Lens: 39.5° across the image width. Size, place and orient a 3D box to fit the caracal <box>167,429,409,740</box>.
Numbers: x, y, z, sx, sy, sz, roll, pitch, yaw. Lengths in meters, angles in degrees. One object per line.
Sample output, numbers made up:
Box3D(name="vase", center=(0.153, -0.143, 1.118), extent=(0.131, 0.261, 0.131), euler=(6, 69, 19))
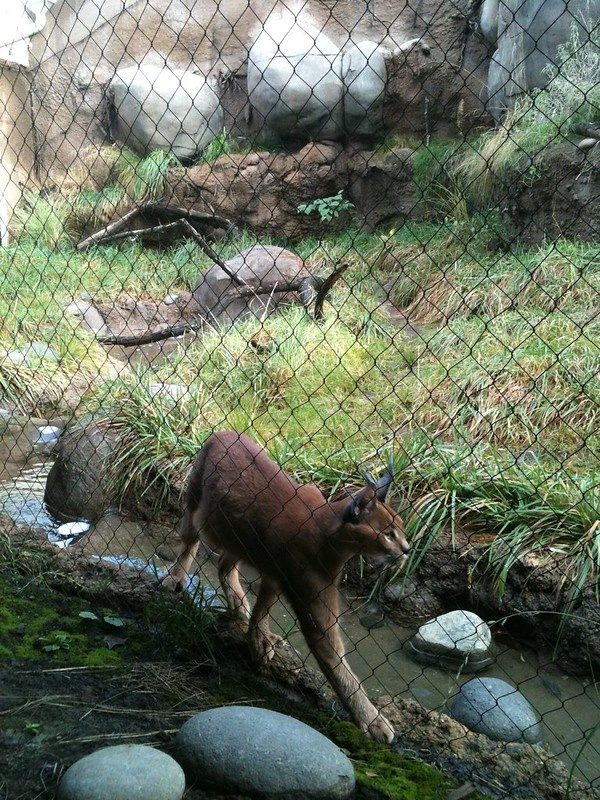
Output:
Box3D(name="caracal", center=(-0.033, 0.679, 3.355), extent=(0.373, 1.025, 1.165), euler=(-14, 19, -40))
